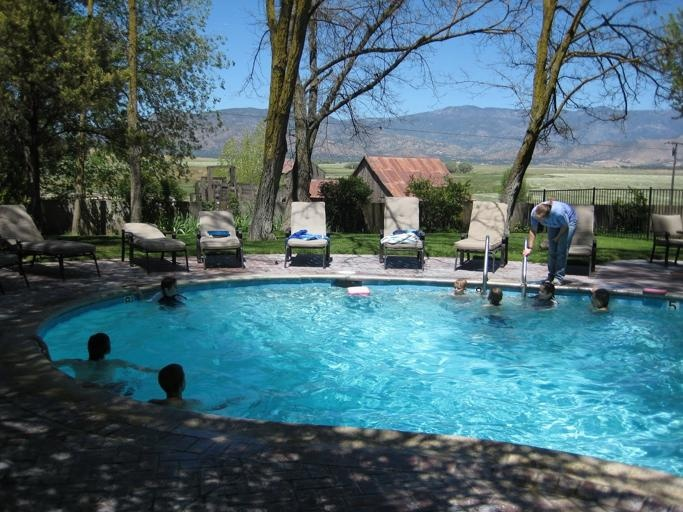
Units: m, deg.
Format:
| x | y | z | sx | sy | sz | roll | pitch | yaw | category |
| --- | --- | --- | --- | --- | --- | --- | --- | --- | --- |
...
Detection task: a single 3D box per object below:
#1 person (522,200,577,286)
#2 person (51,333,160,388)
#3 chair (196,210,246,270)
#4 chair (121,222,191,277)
| x | y | z | sx | sy | sz | roll | pitch | yaw | category |
| --- | --- | --- | --- | --- | --- | --- | --- | --- | --- |
| 4.197 | -0.270 | 10.062 | 0.723 | 1.658 | 1.637 | 9 | 12 | 32 | person |
| -2.956 | 1.206 | 6.230 | 0.942 | 0.633 | 0.721 | 7 | 11 | 29 | person |
| -2.941 | -0.455 | 12.029 | 1.061 | 0.924 | 1.585 | -5 | 19 | -20 | chair |
| -4.466 | -0.262 | 11.700 | 1.098 | 0.808 | 1.585 | -7 | 12 | -44 | chair |
